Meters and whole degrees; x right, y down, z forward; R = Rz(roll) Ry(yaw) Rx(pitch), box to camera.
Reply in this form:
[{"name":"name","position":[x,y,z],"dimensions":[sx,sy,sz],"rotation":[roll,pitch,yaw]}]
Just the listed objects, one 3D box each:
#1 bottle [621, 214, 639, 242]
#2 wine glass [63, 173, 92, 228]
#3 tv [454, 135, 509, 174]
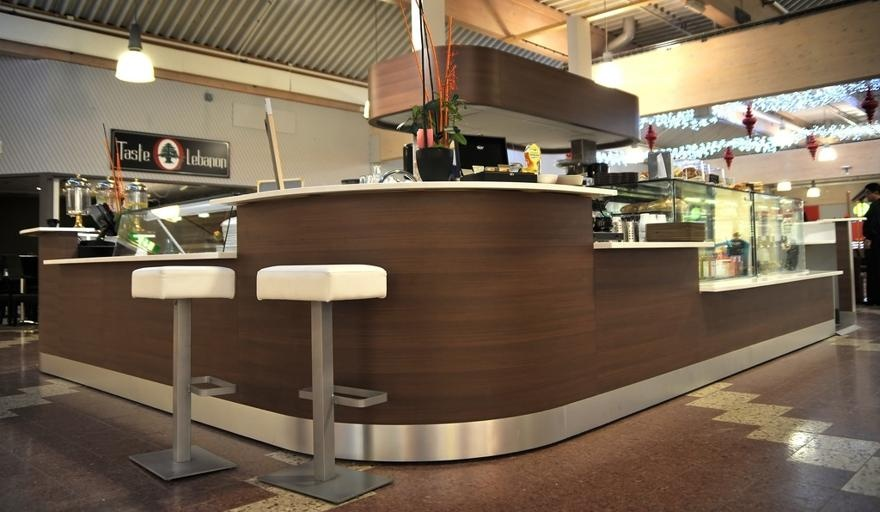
[{"name":"bottle","position":[1.941,-0.293,6.114],"dimensions":[0.168,0.264,0.159],"rotation":[-3,3,0]},{"name":"wine glass","position":[-4.391,-0.672,7.408],"dimensions":[0.376,0.584,0.333],"rotation":[2,-2,-25]},{"name":"tv","position":[0.409,-1.017,6.021],"dimensions":[0.666,0.326,0.077],"rotation":[-5,-3,-34]}]
